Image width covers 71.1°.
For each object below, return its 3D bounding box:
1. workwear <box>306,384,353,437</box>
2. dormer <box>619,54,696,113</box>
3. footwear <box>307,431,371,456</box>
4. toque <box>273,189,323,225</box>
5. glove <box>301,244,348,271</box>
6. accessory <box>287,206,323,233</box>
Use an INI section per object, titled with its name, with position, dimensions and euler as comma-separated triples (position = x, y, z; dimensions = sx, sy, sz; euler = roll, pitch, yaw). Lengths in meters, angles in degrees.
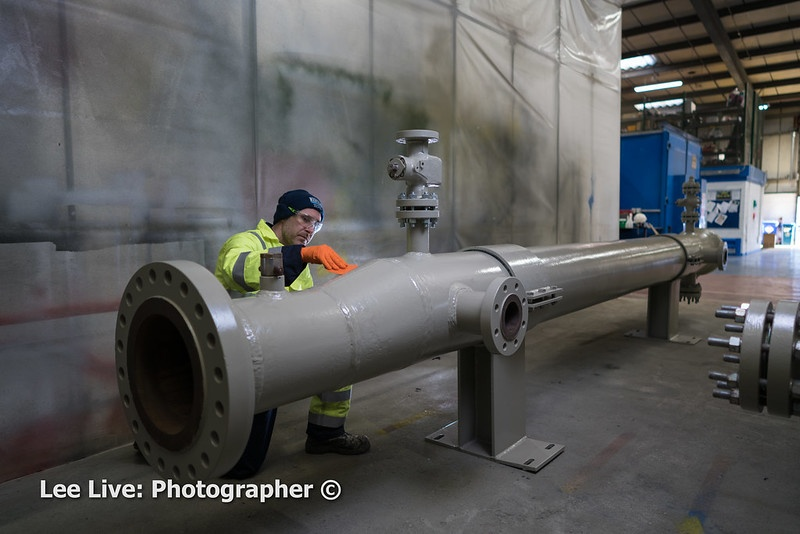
[workwear]
position = -0.447, 0.835, 3.492
dimensions = 0.246, 0.359, 0.186
euler = 12, 13, -7
[dormer]
position = 6.260, -4.616, 13.895
dimensions = 1.355, 1.372, 5.419
euler = 5, 16, 21
[footwear]
position = -0.395, 1.087, 3.551
dimensions = 0.363, 0.184, 0.160
euler = -2, 2, -3
[toque]
position = -0.631, -0.377, 3.402
dimensions = 0.255, 0.255, 0.255
euler = 4, -2, -23
[glove]
position = -0.369, -0.038, 2.774
dimensions = 0.194, 0.086, 0.125
euler = 25, 26, 17
[accessory]
position = -0.577, -0.282, 3.378
dimensions = 0.118, 0.079, 0.147
euler = 21, -21, -40
